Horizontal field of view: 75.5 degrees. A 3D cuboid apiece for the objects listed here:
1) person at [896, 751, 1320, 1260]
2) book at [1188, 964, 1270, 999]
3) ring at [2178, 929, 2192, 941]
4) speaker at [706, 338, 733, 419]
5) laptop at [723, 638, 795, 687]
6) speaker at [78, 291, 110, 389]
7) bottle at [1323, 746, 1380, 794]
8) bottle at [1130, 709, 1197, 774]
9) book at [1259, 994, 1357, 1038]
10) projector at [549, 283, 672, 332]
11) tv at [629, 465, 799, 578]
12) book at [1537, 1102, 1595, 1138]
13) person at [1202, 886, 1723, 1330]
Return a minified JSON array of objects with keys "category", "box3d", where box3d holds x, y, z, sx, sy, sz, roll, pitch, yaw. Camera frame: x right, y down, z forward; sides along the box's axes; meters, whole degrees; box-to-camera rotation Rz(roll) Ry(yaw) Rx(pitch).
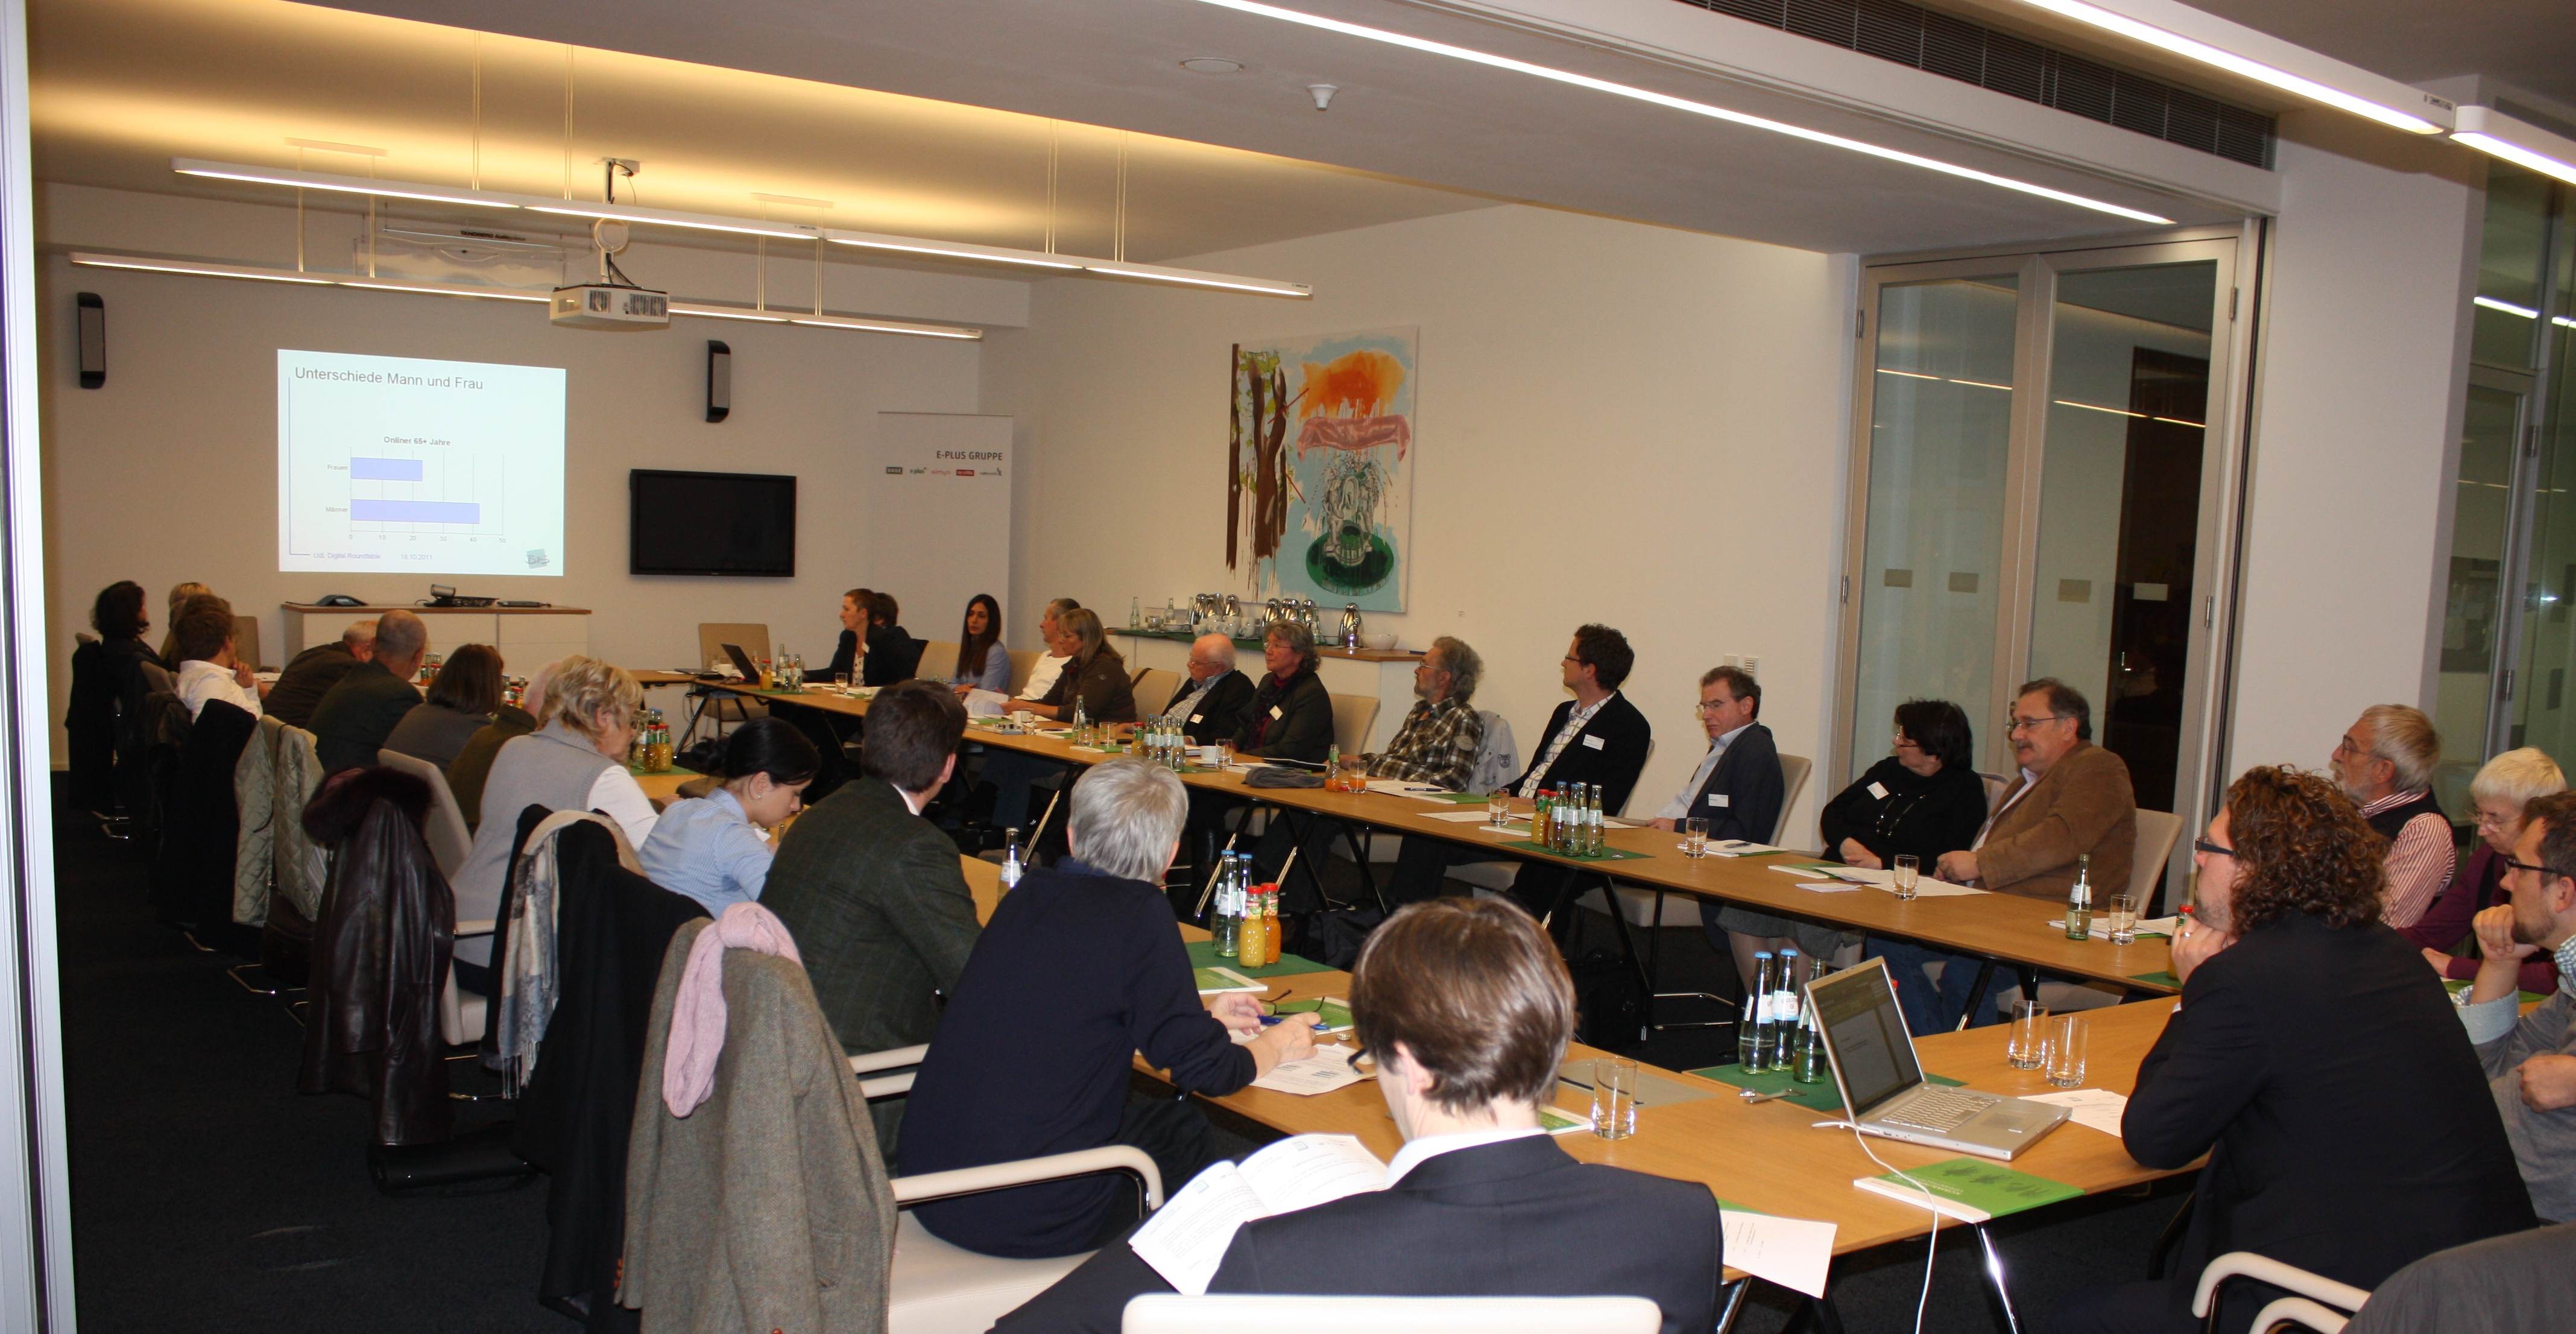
[{"category":"person","box3d":[-0.627,1.252,6.036,1.476,1.933,0.931,-16,35,-38]},{"category":"book","box3d":[-0.224,1.210,6.370,0.184,0.019,0.250,-1,4,-18]},{"category":"ring","box3d":[3.388,1.009,6.259,0.042,0.012,0.041,-2,18,1]},{"category":"speaker","box3d":[-5.172,-2.618,15.211,0.233,0.742,0.176,-1,1,-30]},{"category":"laptop","box3d":[-4.318,-0.040,13.544,0.581,0.343,0.568,-3,-1,11]},{"category":"speaker","box3d":[-9.477,-2.586,13.169,0.202,0.761,0.200,-1,1,-15]},{"category":"bottle","box3d":[0.383,0.595,9.429,0.326,0.295,0.173,0,2,9]},{"category":"bottle","box3d":[-0.785,0.452,10.133,0.411,0.490,0.374,-1,2,0]},{"category":"book","box3d":[0.108,1.309,6.260,0.324,0.079,0.303,-3,6,-32]},{"category":"projector","box3d":[-4.255,-2.269,10.365,0.745,0.276,0.254,0,1,20]},{"category":"tv","box3d":[-5.322,-1.341,15.231,1.170,0.687,0.112,-1,7,-27]},{"category":"book","box3d":[0.968,1.568,5.726,0.186,0.046,0.176,0,5,-27]},{"category":"person","box3d":[0.548,1.419,5.297,1.433,1.129,0.696,-3,13,-8]}]
